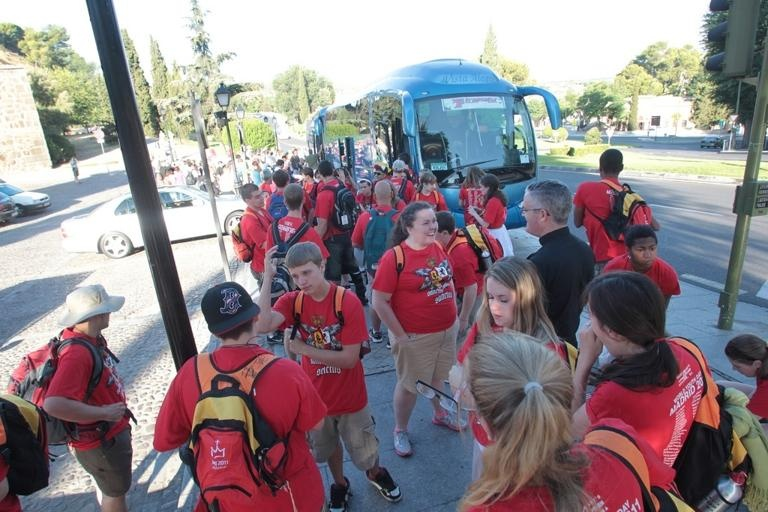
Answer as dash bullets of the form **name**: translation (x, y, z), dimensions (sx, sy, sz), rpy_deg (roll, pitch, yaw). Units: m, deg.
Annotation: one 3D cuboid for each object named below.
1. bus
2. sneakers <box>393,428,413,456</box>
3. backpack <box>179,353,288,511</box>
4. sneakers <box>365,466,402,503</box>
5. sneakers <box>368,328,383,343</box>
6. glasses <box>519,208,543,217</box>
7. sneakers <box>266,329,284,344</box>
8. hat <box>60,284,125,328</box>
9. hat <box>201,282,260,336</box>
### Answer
- **bus**: translation (0.708, -3.864, 14.730), dimensions (3.477, 4.211, 11.452), rpy_deg (-8, 15, -19)
- **sneakers**: translation (0.196, 1.980, 4.727), dimensions (0.196, 0.238, 0.231), rpy_deg (-8, 18, -6)
- **backpack**: translation (-0.992, 1.148, 2.971), dimensions (0.608, 0.892, 0.492), rpy_deg (-9, 19, -8)
- **sneakers**: translation (-0.023, 2.134, 4.295), dimensions (0.189, 0.182, 0.444), rpy_deg (-31, 43, -30)
- **sneakers**: translation (-0.135, 1.249, 6.960), dimensions (0.118, 0.134, 0.285), rpy_deg (-2, 21, -10)
- **glasses**: translation (1.461, -0.423, 4.378), dimensions (0.057, 0.085, 0.238), rpy_deg (-14, 20, -23)
- **sneakers**: translation (-1.796, 1.306, 7.126), dimensions (0.267, 0.160, 0.298), rpy_deg (-8, 18, -7)
- **hat**: translation (-2.583, 0.424, 3.879), dimensions (0.405, 0.167, 0.445), rpy_deg (12, 27, 37)
- **hat**: translation (-1.100, 0.363, 3.066), dimensions (0.319, 0.231, 0.404), rpy_deg (-30, 19, -31)
